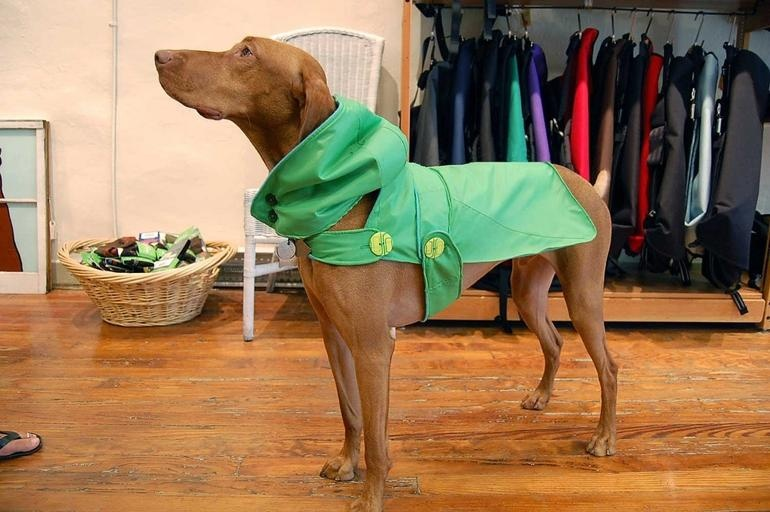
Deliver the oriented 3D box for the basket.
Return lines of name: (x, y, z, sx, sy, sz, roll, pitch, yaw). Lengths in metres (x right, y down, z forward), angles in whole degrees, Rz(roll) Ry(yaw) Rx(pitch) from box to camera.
basket: (-1.252, 0.044, 4.233, 0.651, 0.255, 0.632, 5, 17, 19)
